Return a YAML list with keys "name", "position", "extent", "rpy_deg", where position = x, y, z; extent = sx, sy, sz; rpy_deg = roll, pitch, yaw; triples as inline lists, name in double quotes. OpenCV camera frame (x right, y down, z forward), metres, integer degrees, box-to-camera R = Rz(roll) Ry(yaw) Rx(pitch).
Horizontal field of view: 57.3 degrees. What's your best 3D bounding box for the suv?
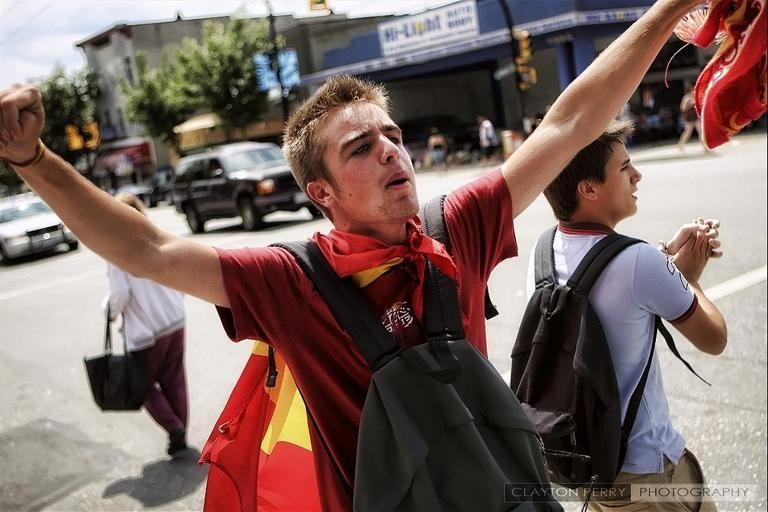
- name: "suv"
  position: [-2.888, -1.692, 15.053]
  extent: [2.117, 1.996, 3.974]
  rpy_deg: [-6, 1, -44]
